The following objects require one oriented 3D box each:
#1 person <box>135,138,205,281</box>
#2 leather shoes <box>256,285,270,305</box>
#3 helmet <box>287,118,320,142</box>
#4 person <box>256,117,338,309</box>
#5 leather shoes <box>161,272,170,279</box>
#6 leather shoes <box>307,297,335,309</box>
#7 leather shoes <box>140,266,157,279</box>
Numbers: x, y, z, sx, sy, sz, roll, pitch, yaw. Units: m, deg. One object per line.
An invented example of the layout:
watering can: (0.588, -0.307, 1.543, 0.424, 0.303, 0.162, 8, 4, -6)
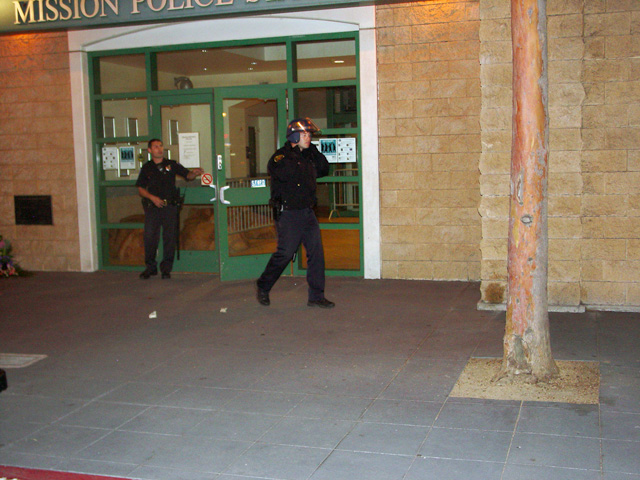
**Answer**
person: (-2.536, -0.503, 9.864, 0.898, 2.233, 0.508, -4, 8, -11)
leather shoes: (-0.719, 0.732, 7.790, 0.104, 0.124, 0.304, 5, 11, -28)
helmet: (-0.202, -1.343, 7.454, 0.355, 0.267, 0.274, -2, 9, 11)
person: (-0.320, -0.312, 7.590, 0.914, 2.336, 0.483, -3, 8, -2)
leather shoes: (-2.494, 0.590, 9.815, 0.136, 0.122, 0.081, 0, 2, 3)
leather shoes: (0.024, 0.795, 7.644, 0.342, 0.138, 0.127, 0, 1, 14)
leather shoes: (-2.776, 0.554, 9.909, 0.131, 0.116, 0.287, -2, -1, 41)
